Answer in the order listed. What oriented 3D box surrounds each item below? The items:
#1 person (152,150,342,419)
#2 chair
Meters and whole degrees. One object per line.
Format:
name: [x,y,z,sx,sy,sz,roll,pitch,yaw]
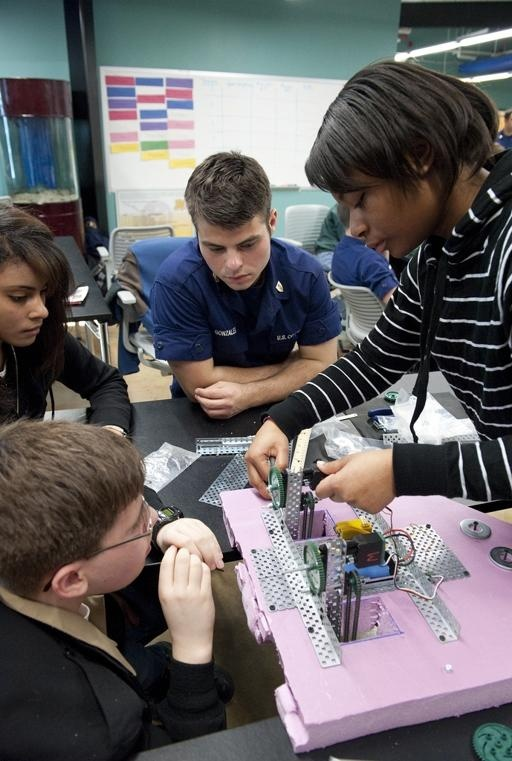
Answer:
person: [-0.025,-0.193,2.040,0.669,1.146,0.607,-11,41,-9]
chair: [-0.108,-0.439,3.008,1.087,1.278,0.991,-16,2,-7]
